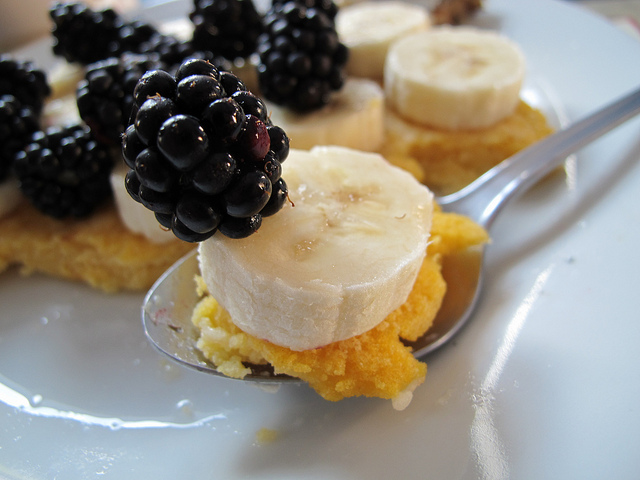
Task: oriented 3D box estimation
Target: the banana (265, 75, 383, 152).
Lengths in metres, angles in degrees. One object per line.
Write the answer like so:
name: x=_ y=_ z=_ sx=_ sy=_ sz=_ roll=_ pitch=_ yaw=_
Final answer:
banana: x=0.044 y=-0.321 z=1.943 sx=0.220 sy=0.091 sz=0.236 roll=-5 pitch=40 yaw=-3
